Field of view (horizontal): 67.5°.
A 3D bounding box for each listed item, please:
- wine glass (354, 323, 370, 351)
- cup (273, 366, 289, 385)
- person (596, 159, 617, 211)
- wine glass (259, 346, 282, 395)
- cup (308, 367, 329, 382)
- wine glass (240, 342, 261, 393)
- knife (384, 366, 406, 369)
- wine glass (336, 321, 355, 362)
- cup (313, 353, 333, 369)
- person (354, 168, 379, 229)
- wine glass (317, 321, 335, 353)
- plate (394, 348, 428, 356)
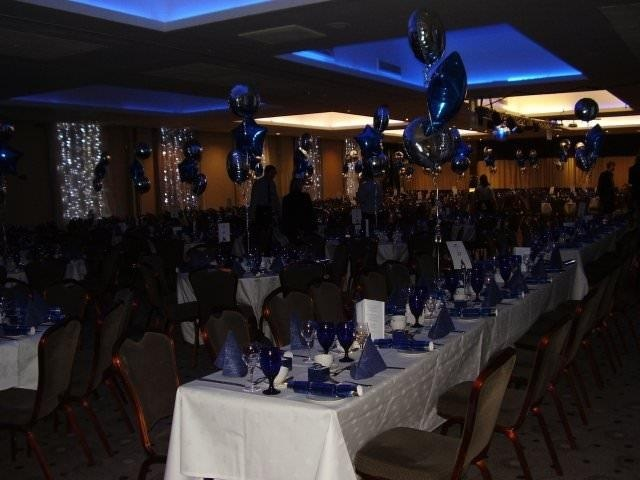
[{"bbox_3d":[0.243,0.579,2.865,0.098,0.174,0.315,1,7,5],"label":"wine glass"},{"bbox_3d":[-0.187,0.668,2.366,0.067,0.079,0.082,9,-15,21],"label":"cup"},{"bbox_3d":[7.317,-1.251,12.170,0.492,1.492,0.396,-14,19,-2],"label":"person"},{"bbox_3d":[-0.238,0.605,2.288,0.102,0.220,0.166,0,7,-8],"label":"wine glass"},{"bbox_3d":[-0.009,0.655,2.334,0.069,0.075,0.073,0,-3,0],"label":"cup"},{"bbox_3d":[-0.344,0.604,2.422,0.073,0.225,0.339,0,7,-7],"label":"wine glass"},{"bbox_3d":[0.396,0.677,2.552,0.115,0.014,0.017,7,-9,-35],"label":"knife"},{"bbox_3d":[0.144,0.562,2.772,0.104,0.237,0.218,1,7,2],"label":"wine glass"},{"bbox_3d":[0.013,0.652,2.583,0.071,0.059,0.069,3,-3,0],"label":"cup"},{"bbox_3d":[0.906,-0.818,9.429,0.458,1.616,0.214,-3,11,-21],"label":"person"},{"bbox_3d":[0.039,0.561,2.754,0.108,0.216,0.184,2,7,9],"label":"wine glass"},{"bbox_3d":[0.532,0.650,2.766,0.171,0.021,0.071,2,7,10],"label":"plate"}]
